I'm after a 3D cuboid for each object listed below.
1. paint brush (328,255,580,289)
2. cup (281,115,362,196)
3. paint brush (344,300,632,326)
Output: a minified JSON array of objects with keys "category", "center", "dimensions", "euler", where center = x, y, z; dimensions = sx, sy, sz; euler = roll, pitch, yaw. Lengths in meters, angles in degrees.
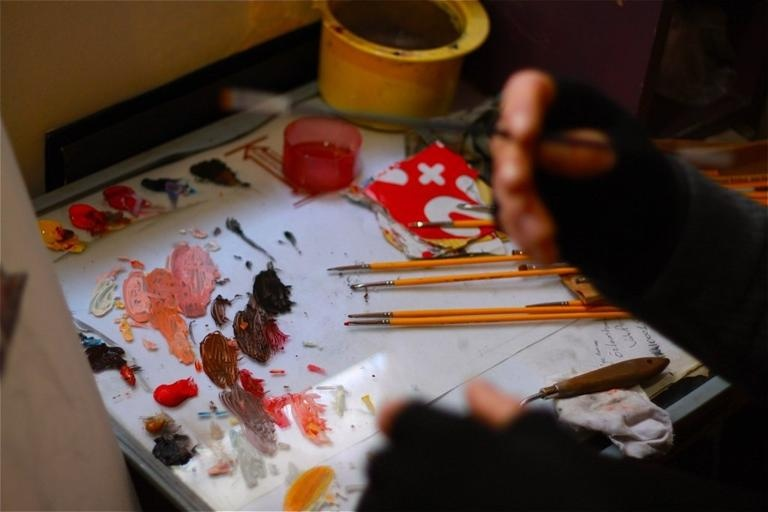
[{"category":"paint brush","center":[0.116,0.030,1.135],"dimensions":[0.417,0.024,0.078],"euler":[-2,72,-1]},{"category":"cup","center":[-0.123,-0.189,1.247],"dimensions":[0.149,0.093,0.131],"euler":[2,44,1]},{"category":"paint brush","center":[0.167,0.097,1.097],"dimensions":[0.340,0.043,0.026],"euler":[-1,38,-7]}]
